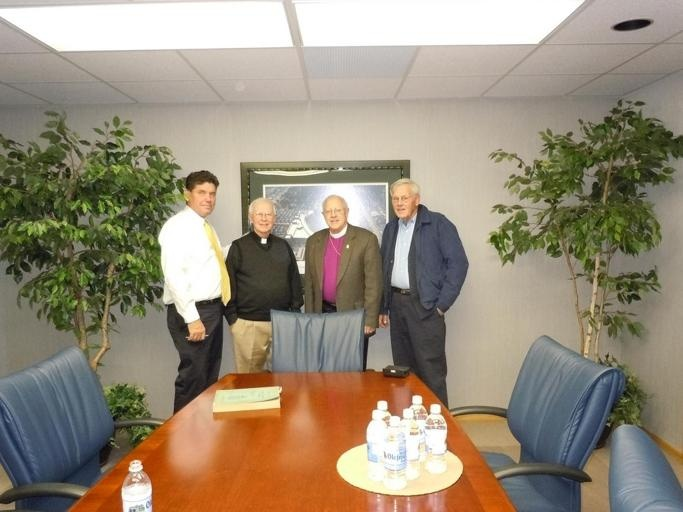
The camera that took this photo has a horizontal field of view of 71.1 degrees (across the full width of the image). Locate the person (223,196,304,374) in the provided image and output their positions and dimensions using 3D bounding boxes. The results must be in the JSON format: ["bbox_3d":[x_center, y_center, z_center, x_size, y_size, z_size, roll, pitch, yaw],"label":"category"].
[{"bbox_3d":[-0.704,0.522,4.386,0.651,2.025,0.500,-4,19,-23],"label":"person"}]

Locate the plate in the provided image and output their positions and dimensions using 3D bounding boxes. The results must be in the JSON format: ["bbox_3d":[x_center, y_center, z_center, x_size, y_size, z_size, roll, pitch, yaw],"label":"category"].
[{"bbox_3d":[0.250,0.914,2.050,0.547,0.034,0.298,1,12,6],"label":"plate"}]
